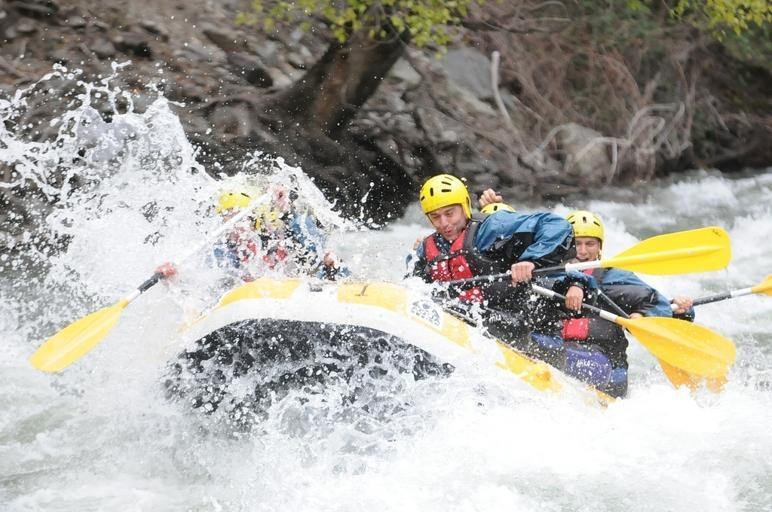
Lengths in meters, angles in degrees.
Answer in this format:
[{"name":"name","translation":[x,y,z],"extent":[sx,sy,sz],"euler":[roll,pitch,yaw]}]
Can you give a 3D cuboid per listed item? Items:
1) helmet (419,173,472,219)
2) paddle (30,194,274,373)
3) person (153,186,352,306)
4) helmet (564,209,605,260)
[{"name":"helmet","translation":[0.645,-0.685,9.762],"extent":[0.440,0.500,0.452],"euler":[-17,31,16]},{"name":"paddle","translation":[-2.344,0.284,9.617],"extent":[3.036,0.237,0.352],"euler":[-35,69,-14]},{"name":"person","translation":[-1.200,-0.222,9.898],"extent":[1.786,0.715,1.111],"euler":[-12,10,-15]},{"name":"helmet","translation":[2.226,-0.229,10.223],"extent":[0.427,0.545,0.500],"euler":[0,64,7]}]
